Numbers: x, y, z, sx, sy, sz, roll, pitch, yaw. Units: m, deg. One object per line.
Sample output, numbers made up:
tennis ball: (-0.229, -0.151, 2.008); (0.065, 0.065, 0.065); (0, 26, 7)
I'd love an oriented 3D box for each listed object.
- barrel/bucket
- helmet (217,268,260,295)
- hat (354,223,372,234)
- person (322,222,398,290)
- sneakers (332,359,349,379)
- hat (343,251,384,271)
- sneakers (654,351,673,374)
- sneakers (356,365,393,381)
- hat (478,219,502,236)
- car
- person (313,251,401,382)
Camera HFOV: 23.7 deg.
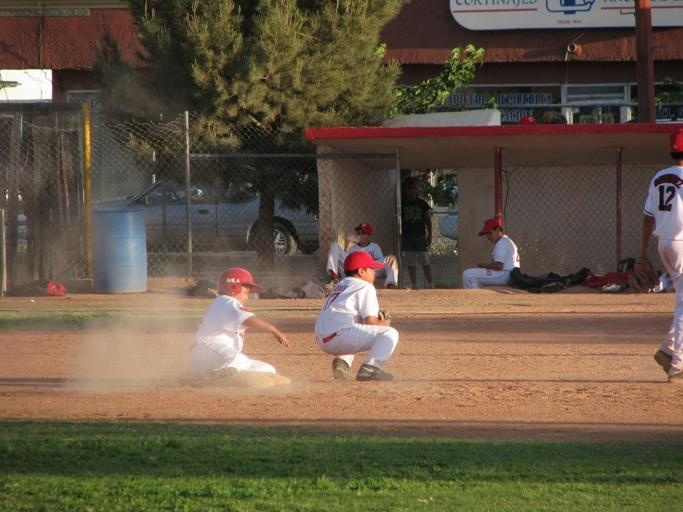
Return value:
barrel/bucket: (-4.409, -0.128, 32.212); (1.080, 1.651, 0.382); (1, 1, -10)
helmet: (-1.694, 0.387, 26.606); (0.567, 0.318, 0.369); (-1, 1, -2)
hat: (0.472, -0.530, 32.406); (0.266, 0.154, 0.201); (14, 2, -12)
person: (0.407, -0.051, 32.813); (1.616, 1.609, 1.197); (3, -10, 8)
sneakers: (-0.014, 1.838, 26.807); (0.157, 0.431, 0.198); (-10, 22, 9)
hat: (0.357, 0.077, 26.862); (0.496, 0.272, 0.332); (2, 6, -13)
sneakers: (5.268, 1.695, 26.553); (0.280, 0.380, 0.240); (2, 1, 11)
sneakers: (0.549, 1.882, 26.622); (0.604, 0.279, 0.246); (1, -3, 2)
hat: (3.049, -0.603, 32.251); (0.427, 0.251, 0.313); (-7, 2, -14)
car: (-2.770, -0.967, 34.808); (4.693, 1.820, 2.364); (2, 1, -10)
person: (0.257, 0.955, 26.723); (1.300, 2.074, 0.342); (2, 1, 1)
